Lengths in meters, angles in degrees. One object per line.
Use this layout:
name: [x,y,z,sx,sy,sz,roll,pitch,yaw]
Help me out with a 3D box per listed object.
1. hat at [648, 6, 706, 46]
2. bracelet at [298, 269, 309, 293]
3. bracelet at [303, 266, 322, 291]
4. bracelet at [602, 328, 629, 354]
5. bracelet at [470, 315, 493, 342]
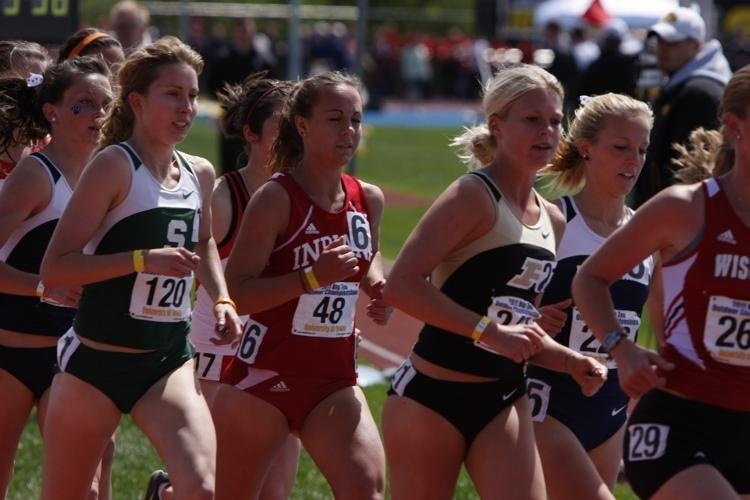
hat: [2.614,-1.951,7.381,0.468,0.330,0.362,11,11,16]
bracelet: [-0.336,0.149,4.055,0.019,0.085,0.082,-12,34,6]
bracelet: [-0.298,0.135,4.050,0.086,0.112,0.034,12,12,25]
bracelet: [0.993,0.381,3.599,0.039,0.097,0.100,49,19,10]
bracelet: [0.465,0.345,3.752,0.026,0.094,0.096,36,55,-1]
